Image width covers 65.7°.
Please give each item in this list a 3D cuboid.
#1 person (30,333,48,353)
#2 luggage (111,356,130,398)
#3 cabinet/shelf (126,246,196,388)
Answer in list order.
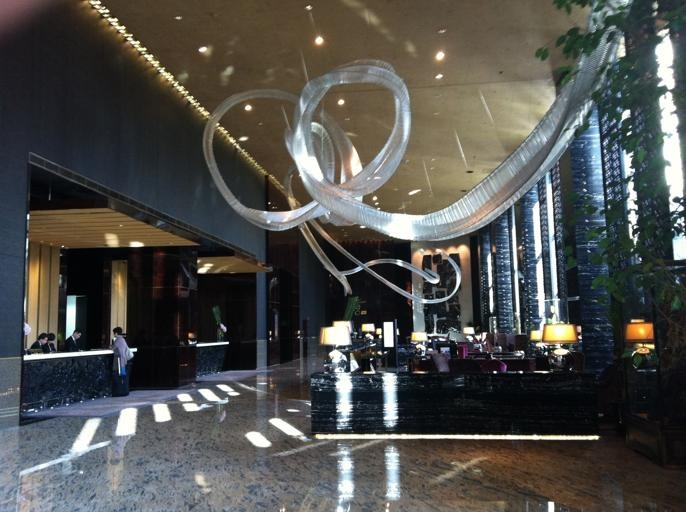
[{"bbox_3d":[-6.140,1.749,10.700,0.301,0.359,0.874,3,-9,-30],"label":"person"},{"bbox_3d":[-4.746,2.544,11.291,0.303,0.838,0.222,3,-9,-28],"label":"luggage"},{"bbox_3d":[-4.445,1.506,13.091,1.436,3.352,0.561,-1,-8,-1],"label":"cabinet/shelf"}]
